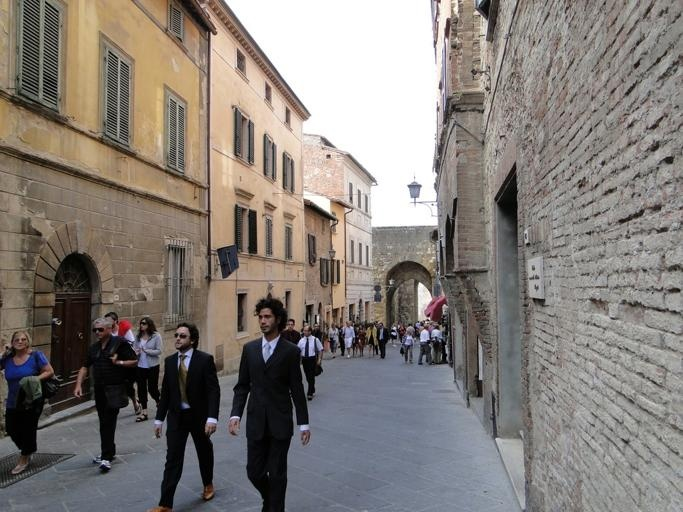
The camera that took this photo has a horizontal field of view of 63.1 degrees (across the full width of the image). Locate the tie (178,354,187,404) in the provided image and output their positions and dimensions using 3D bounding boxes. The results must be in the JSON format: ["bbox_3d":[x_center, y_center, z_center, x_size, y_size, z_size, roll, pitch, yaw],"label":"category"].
[{"bbox_3d":[-1.686,1.327,5.942,0.084,0.534,0.074,-2,-6,-4],"label":"tie"}]

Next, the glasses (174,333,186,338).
[{"bbox_3d":[-1.719,0.850,5.942,0.103,0.063,0.060,-1,-8,-21],"label":"glasses"}]

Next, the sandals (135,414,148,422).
[{"bbox_3d":[-3.536,2.872,9.875,0.082,0.113,0.233,-11,-21,37],"label":"sandals"}]

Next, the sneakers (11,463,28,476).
[{"bbox_3d":[-3.949,2.612,6.818,0.088,0.083,0.180,-11,-9,7],"label":"sneakers"}]

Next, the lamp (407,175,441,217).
[{"bbox_3d":[3.384,-2.510,23.233,1.233,2.149,0.680,-3,-18,11],"label":"lamp"}]

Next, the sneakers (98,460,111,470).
[{"bbox_3d":[-2.909,2.580,6.840,0.077,0.097,0.205,32,-29,3],"label":"sneakers"}]

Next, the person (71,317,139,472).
[{"bbox_3d":[-3.014,1.727,7.063,0.614,1.915,0.613,-6,-7,23],"label":"person"}]

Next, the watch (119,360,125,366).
[{"bbox_3d":[-2.800,1.363,7.070,0.064,0.049,0.061,13,-32,-36],"label":"watch"}]
